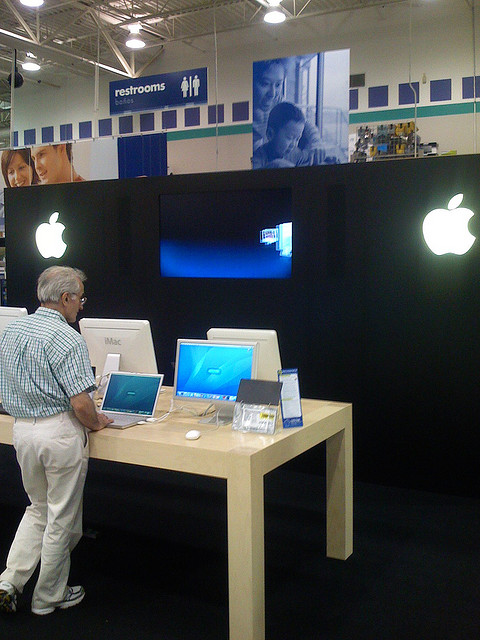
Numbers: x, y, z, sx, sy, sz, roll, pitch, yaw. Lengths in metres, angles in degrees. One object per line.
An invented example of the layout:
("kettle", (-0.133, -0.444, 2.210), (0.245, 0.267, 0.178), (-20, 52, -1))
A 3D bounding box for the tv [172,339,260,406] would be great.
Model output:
("tv", (-0.109, 0.231, 2.247), (0.436, 0.283, 0.154), (1, 0, 39))

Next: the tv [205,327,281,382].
("tv", (0.034, 0.131, 2.499), (0.274, 0.361, 0.237), (2, 4, 26))

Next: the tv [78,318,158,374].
("tv", (-0.684, 0.163, 2.801), (0.407, 0.376, 0.223), (4, 26, 16))

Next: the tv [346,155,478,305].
("tv", (1.143, -0.589, 3.327), (0.789, 0.988, 0.082), (0, 2, 32))

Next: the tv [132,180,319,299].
("tv", (-0.149, -0.647, 4.012), (1.591, 0.910, 0.109), (1, 0, 25))

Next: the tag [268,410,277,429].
("tag", (0.119, 0.370, 1.912), (0.012, 0.067, 0.041), (8, -3, -14))

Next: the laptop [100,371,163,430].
("laptop", (-0.497, 0.344, 2.255), (0.209, 0.166, 0.204), (1, 11, 27))

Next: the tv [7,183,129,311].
("tv", (-1.413, -0.664, 4.352), (0.955, 1.207, 0.103), (3, 7, 28))

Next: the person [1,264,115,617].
("person", (-0.704, 0.450, 1.910), (0.362, 1.347, 0.365), (0, 0, -2))
